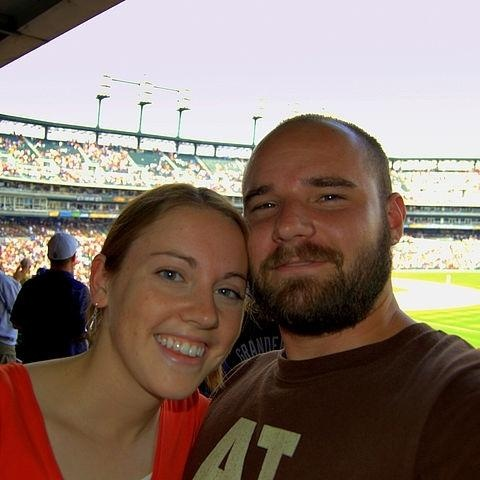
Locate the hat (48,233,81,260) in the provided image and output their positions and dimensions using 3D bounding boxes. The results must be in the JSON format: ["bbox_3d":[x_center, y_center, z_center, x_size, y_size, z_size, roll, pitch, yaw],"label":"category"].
[{"bbox_3d":[-1.928,0.073,6.014,0.250,0.155,0.345,-1,33,-1],"label":"hat"}]
